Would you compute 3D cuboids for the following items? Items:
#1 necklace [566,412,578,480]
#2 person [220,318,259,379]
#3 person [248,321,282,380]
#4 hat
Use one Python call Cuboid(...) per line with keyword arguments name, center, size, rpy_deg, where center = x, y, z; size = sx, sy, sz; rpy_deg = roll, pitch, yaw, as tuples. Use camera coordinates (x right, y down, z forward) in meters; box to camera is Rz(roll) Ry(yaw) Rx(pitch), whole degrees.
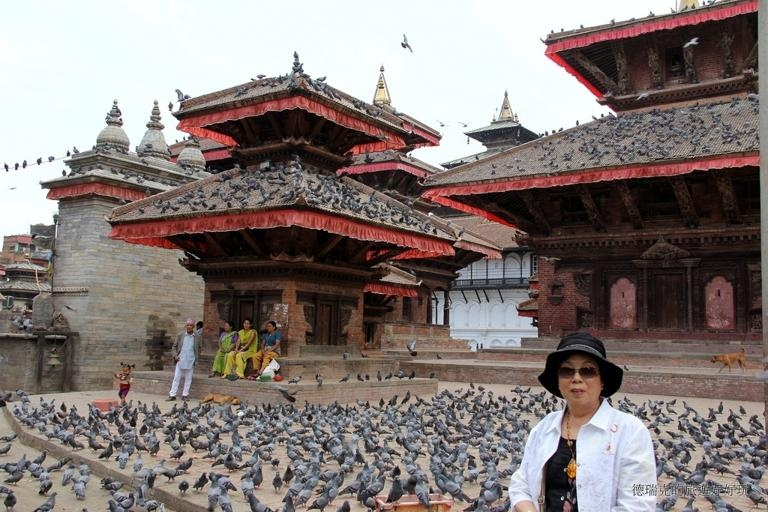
Cuboid(name="necklace", center=(1.856, 2.032, 6.701), size=(0.100, 0.400, 0.034), rpy_deg=(-4, -13, 18))
Cuboid(name="person", center=(-3.895, 2.464, 18.013), size=(0.628, 1.520, 0.757), rpy_deg=(-2, -3, 35))
Cuboid(name="person", center=(-3.115, 2.464, 17.831), size=(0.733, 1.401, 0.575), rpy_deg=(2, -3, -40))
Cuboid(name="hat", center=(2.003, 1.043, 6.969), size=(0.606, 0.859, 1.012), rpy_deg=(4, -5, -4))
